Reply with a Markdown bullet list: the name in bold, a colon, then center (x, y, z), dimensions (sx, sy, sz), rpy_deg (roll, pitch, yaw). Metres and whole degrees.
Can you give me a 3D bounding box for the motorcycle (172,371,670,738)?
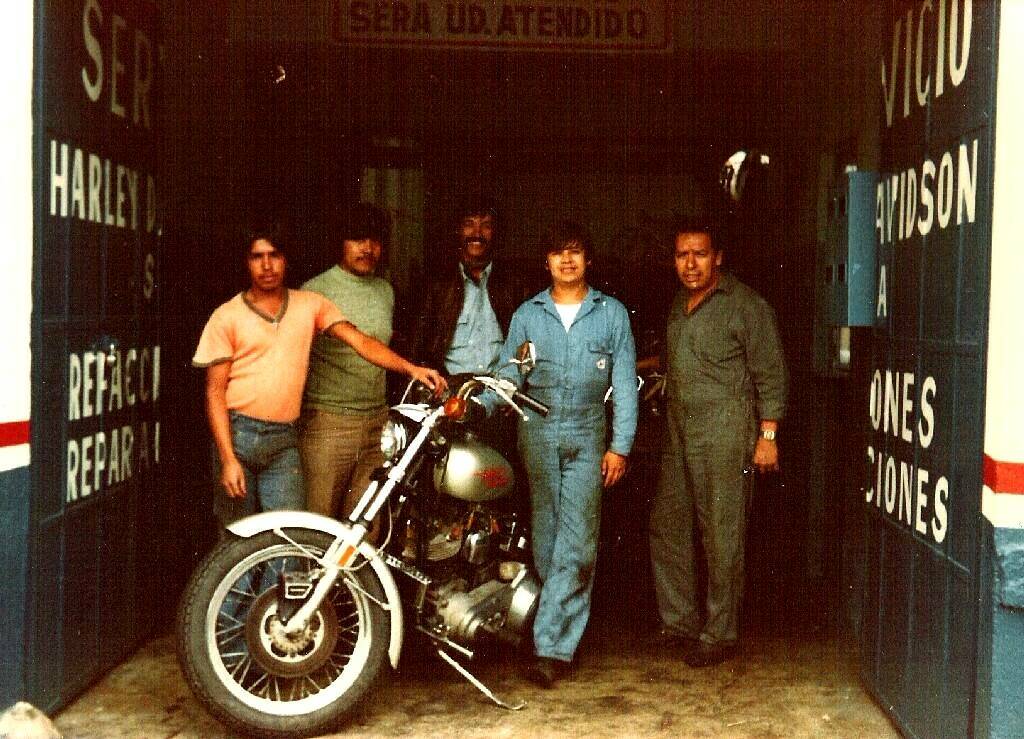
- **motorcycle**: center (-0.622, 0.742, 4.795), dimensions (1.564, 1.728, 1.026), rpy_deg (1, 7, 2)
